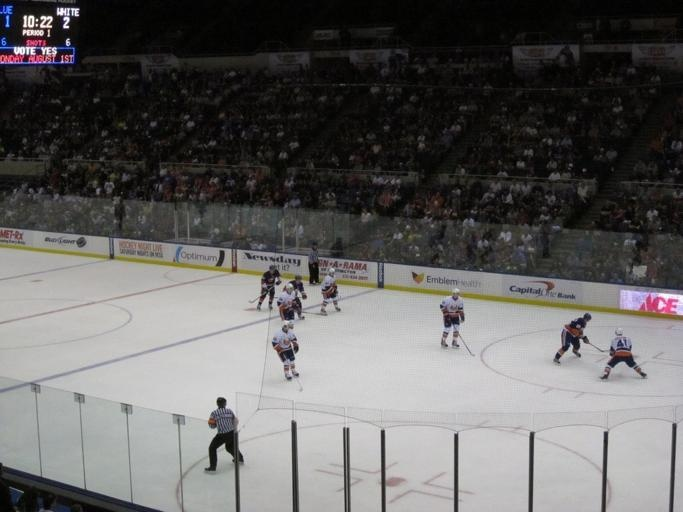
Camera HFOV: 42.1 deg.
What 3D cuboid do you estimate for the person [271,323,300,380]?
[{"bbox_3d":[-1.401,2.289,22.463,0.630,1.604,1.322,-1,12,-4],"label":"person"}]

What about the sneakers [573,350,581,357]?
[{"bbox_3d":[6.324,2.620,23.857,0.095,0.127,0.296,-7,7,-4],"label":"sneakers"}]

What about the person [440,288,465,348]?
[{"bbox_3d":[3.127,1.648,25.036,0.601,1.722,1.262,1,12,7],"label":"person"}]

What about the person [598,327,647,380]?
[{"bbox_3d":[7.146,2.393,22.371,1.085,1.401,1.139,6,14,27],"label":"person"}]

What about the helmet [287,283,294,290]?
[{"bbox_3d":[-1.422,0.878,24.844,0.135,0.204,0.192,-2,18,-3],"label":"helmet"}]

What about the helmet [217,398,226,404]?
[{"bbox_3d":[-2.413,2.928,17.947,0.121,0.172,0.166,3,8,16],"label":"helmet"}]

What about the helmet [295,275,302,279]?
[{"bbox_3d":[-1.324,0.679,27.082,0.140,0.185,0.184,5,11,29],"label":"helmet"}]

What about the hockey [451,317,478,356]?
[{"bbox_3d":[3.452,2.328,25.169,0.145,1.101,0.082,-30,-3,27],"label":"hockey"}]

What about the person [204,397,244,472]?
[{"bbox_3d":[-2.198,3.416,16.807,0.650,1.299,0.537,-13,28,-27],"label":"person"}]

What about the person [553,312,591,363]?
[{"bbox_3d":[6.123,2.087,23.656,0.831,1.420,1.176,3,13,15],"label":"person"}]

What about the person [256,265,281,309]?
[{"bbox_3d":[-2.369,0.919,28.776,0.744,1.507,1.341,-1,12,-3],"label":"person"}]

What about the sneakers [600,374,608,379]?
[{"bbox_3d":[6.610,3.022,22.383,0.073,0.157,0.210,-6,12,-35],"label":"sneakers"}]

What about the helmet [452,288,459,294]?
[{"bbox_3d":[3.155,0.945,24.451,0.164,0.188,0.141,0,-14,39],"label":"helmet"}]

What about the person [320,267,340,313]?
[{"bbox_3d":[-0.345,1.022,27.998,0.665,1.579,1.453,-1,12,-2],"label":"person"}]

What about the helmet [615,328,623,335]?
[{"bbox_3d":[6.869,1.858,21.993,0.129,0.186,0.294,3,13,14],"label":"helmet"}]
